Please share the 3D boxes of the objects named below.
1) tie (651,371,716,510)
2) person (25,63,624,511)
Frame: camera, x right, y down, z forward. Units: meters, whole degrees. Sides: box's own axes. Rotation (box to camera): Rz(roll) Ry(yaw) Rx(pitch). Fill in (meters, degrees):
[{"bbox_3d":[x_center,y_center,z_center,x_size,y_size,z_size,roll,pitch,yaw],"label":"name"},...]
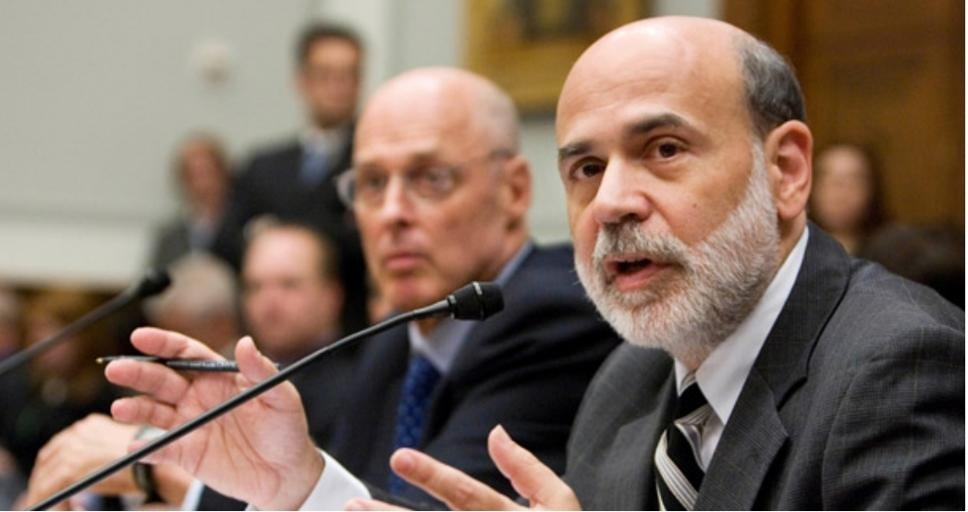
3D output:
[{"bbox_3d":[0.564,0.548,2.935,0.133,0.327,0.236,7,9,-4],"label":"tie"},{"bbox_3d":[-0.416,0.096,3.565,1.736,1.348,1.110,11,-13,-41],"label":"person"}]
